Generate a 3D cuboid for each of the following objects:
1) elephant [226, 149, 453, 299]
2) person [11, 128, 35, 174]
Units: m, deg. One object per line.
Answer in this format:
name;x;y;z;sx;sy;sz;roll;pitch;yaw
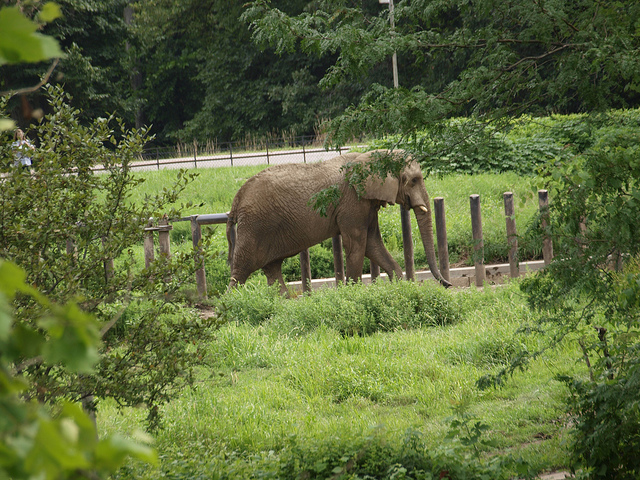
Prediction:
elephant;0.388;-0.288;15.440;3.435;2.597;1.614;-4;8;-4
person;-3.029;-0.916;10.651;0.209;0.501;2.243;-1;0;-16
